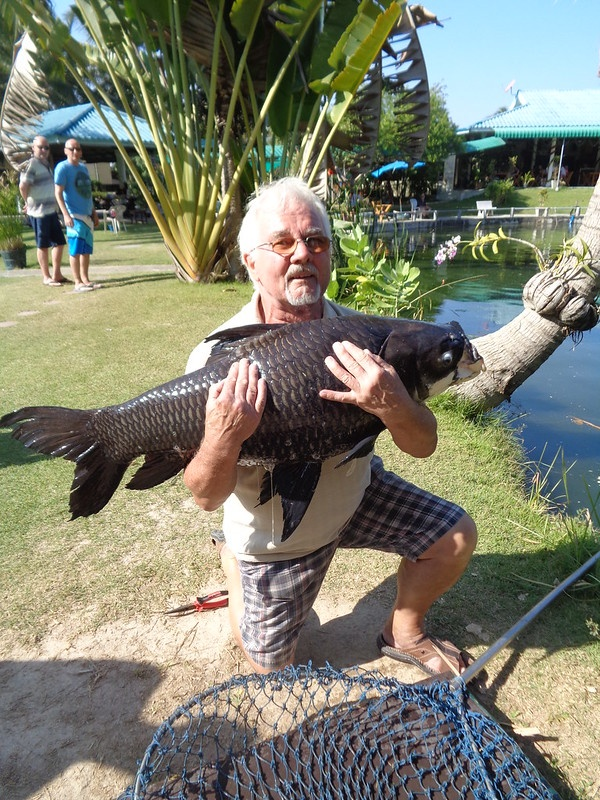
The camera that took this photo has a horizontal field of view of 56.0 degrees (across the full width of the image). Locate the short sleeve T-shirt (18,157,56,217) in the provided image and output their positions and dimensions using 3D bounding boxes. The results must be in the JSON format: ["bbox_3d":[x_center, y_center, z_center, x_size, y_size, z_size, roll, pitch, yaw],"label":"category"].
[{"bbox_3d":[-4.072,-3.299,8.748,0.557,0.931,0.421,-8,12,-36],"label":"short sleeve T-shirt"}]

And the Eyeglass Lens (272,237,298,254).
[{"bbox_3d":[-0.048,-0.488,1.790,0.081,0.055,0.030,0,10,2],"label":"Eyeglass Lens"}]

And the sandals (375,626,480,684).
[{"bbox_3d":[0.458,0.940,2.084,0.297,0.102,0.124,10,27,31],"label":"sandals"}]

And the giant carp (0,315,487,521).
[{"bbox_3d":[-0.173,0.081,1.653,1.409,0.646,0.302,1,10,7],"label":"giant carp"}]

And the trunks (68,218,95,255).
[{"bbox_3d":[-3.278,-2.456,8.405,0.307,0.556,0.443,15,25,24],"label":"trunks"}]
